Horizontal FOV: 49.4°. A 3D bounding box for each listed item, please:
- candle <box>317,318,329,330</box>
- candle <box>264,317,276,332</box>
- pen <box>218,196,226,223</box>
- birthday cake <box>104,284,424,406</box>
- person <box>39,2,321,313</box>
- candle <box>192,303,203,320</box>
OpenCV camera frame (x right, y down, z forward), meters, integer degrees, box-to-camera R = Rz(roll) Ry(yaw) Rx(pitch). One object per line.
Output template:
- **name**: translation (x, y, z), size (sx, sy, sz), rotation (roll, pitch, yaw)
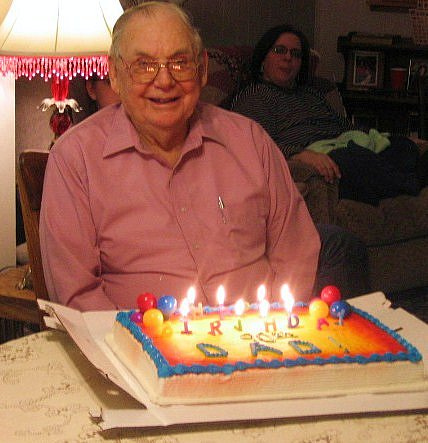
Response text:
- **candle**: translation (0.193, 0.179, 0.808), size (0.014, 0.017, 0.005), rotation (-1, -18, -14)
- **candle**: translation (0.100, 0.182, 0.823), size (0.016, 0.021, 0.018), rotation (0, -2, 1)
- **pen**: translation (0.020, -0.038, 1.290), size (0.014, 0.080, 0.028), rotation (-9, -11, 0)
- **birthday cake**: translation (0.053, 0.103, 0.879), size (0.496, 0.137, 0.413), rotation (-1, 16, -20)
- **person**: translation (-0.085, -0.169, 1.291), size (0.779, 0.806, 0.379), rotation (-6, 13, -26)
- **candle**: translation (-0.031, 0.168, 0.868), size (0.017, 0.028, 0.006), rotation (3, -10, -17)
